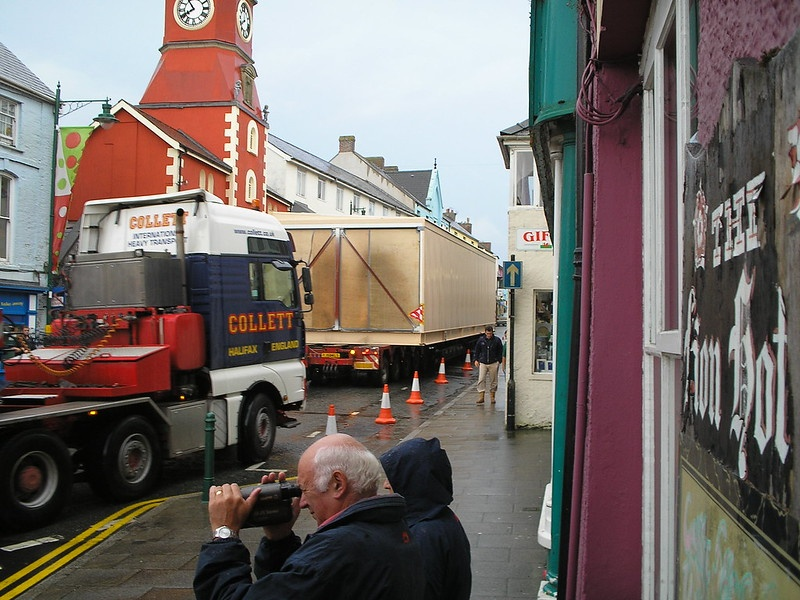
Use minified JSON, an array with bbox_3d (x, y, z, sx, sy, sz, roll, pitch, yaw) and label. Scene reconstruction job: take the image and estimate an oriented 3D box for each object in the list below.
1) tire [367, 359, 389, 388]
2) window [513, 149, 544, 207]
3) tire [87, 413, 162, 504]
[{"bbox_3d":[-0.548,1.825,20.129,0.232,0.791,0.736,-1,-5,24],"label":"tire"},{"bbox_3d":[2.388,-2.313,15.097,0.750,1.121,0.757,3,7,-9],"label":"window"},{"bbox_3d":[-3.128,1.750,8.781,0.260,0.828,0.786,-1,-25,23],"label":"tire"}]
